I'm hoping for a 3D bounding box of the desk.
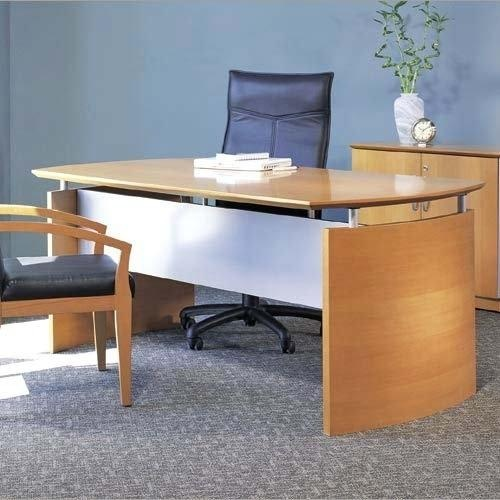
[{"bbox_3d":[0.177,0.124,2.174,1.246,0.944,0.888,5,8,40],"label":"desk"}]
